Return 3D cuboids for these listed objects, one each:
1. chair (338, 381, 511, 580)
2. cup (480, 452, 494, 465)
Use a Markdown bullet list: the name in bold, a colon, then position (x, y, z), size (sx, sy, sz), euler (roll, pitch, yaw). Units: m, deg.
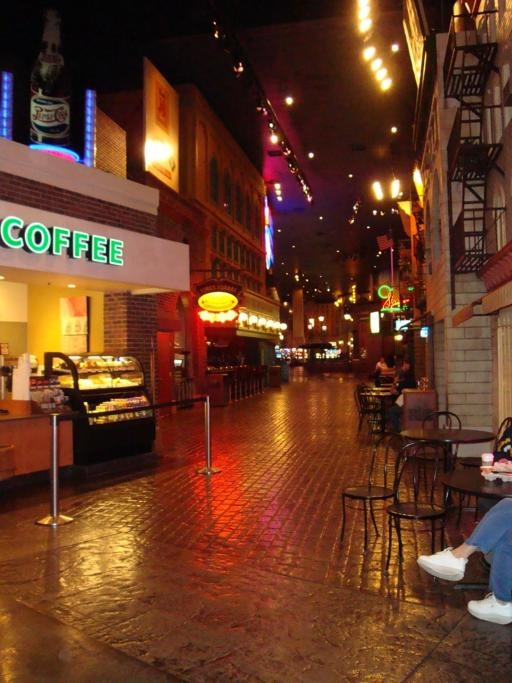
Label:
- **chair**: position (1.807, 1.391, 6.110), size (1.239, 2.138, 1.361), euler (-2, -7, 30)
- **cup**: position (1.619, 0.831, 4.066), size (0.064, 0.082, 0.099), euler (-3, -4, 29)
